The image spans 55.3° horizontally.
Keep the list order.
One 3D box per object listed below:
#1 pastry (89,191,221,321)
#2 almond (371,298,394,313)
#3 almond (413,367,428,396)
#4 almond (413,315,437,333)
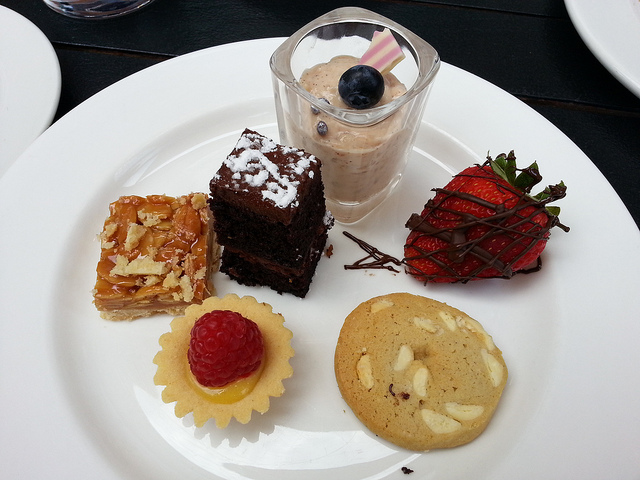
[{"bbox_3d":[-1.010,0.094,3.773,0.779,0.329,0.786,-3,65,-2],"label":"pastry"},{"bbox_3d":[0.377,0.397,3.717,0.113,0.026,0.067,-17,38,-10],"label":"almond"},{"bbox_3d":[0.565,0.797,3.405,0.073,0.032,0.134,11,78,-4],"label":"almond"},{"bbox_3d":[0.619,0.496,3.587,0.101,0.023,0.073,28,53,19],"label":"almond"}]
